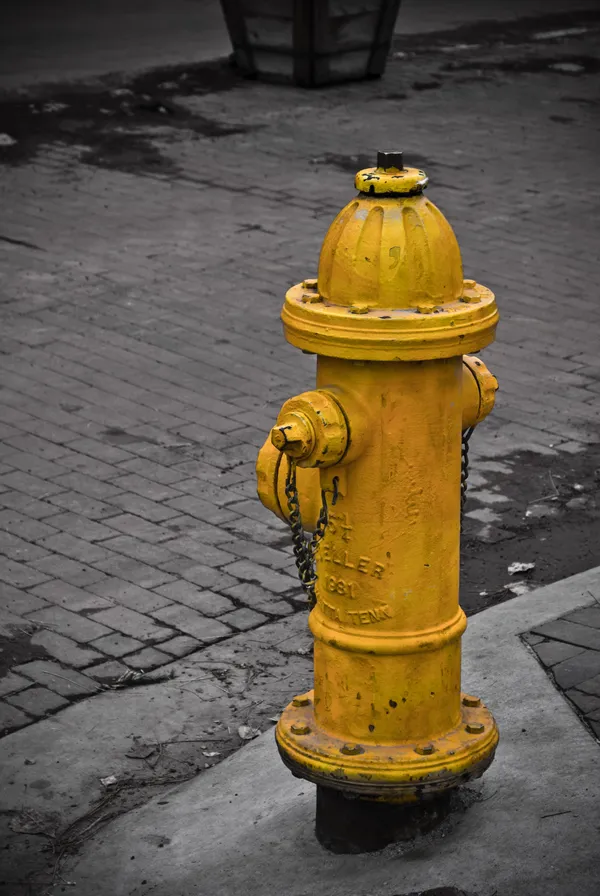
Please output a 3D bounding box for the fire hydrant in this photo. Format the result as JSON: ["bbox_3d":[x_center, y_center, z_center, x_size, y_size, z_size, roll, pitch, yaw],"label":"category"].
[{"bbox_3d":[0.242,0.210,4.170,0.700,2.129,0.648,-3,18,0],"label":"fire hydrant"}]
